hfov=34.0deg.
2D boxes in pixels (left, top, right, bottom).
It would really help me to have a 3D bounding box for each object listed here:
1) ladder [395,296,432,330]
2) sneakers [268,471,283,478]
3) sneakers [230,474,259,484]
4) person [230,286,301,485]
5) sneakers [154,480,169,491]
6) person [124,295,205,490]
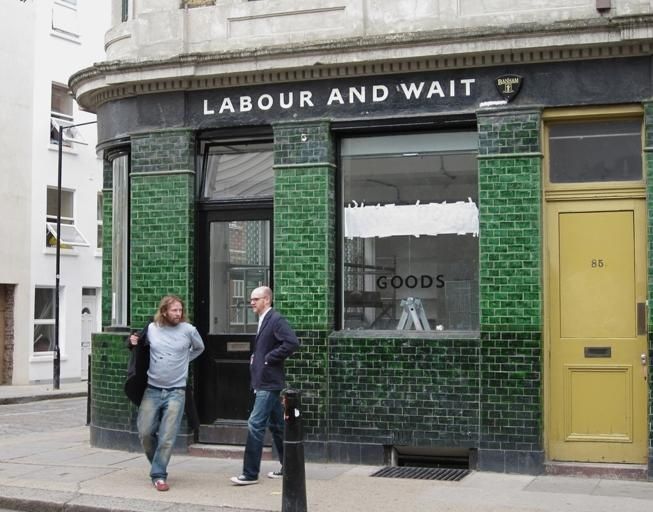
[{"bbox_3d":[1.205,0.805,14.994,0.428,0.551,0.445,0,-2,-12],"label":"ladder"},{"bbox_3d":[-0.657,2.885,14.089,0.229,0.098,0.087,9,-8,-18],"label":"sneakers"},{"bbox_3d":[-1.043,2.863,13.741,0.293,0.123,0.131,6,-8,-13],"label":"sneakers"},{"bbox_3d":[-0.745,1.707,13.804,0.696,2.445,0.890,5,10,32],"label":"person"},{"bbox_3d":[-2.074,2.890,13.517,0.192,0.118,0.293,-2,9,-9],"label":"sneakers"},{"bbox_3d":[-2.103,1.731,13.832,0.651,2.379,0.859,6,11,36],"label":"person"}]
